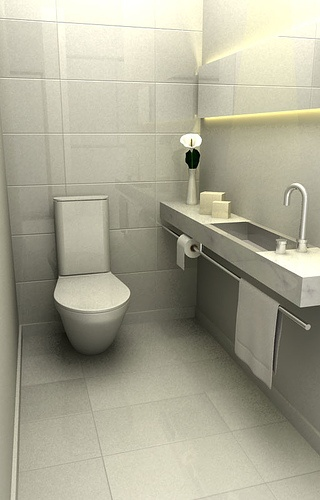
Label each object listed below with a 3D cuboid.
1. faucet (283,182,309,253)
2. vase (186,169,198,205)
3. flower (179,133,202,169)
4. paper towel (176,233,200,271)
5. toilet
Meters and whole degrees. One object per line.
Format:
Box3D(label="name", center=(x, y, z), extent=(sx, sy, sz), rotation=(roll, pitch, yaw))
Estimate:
Box3D(label="faucet", center=(0.487, -0.119, 1.344), extent=(0.084, 0.241, 0.170), rotation=(4, 11, 22))
Box3D(label="vase", center=(0.199, -0.418, 2.489), extent=(0.068, 0.233, 0.127), rotation=(-4, 11, -20))
Box3D(label="flower", center=(0.204, -0.652, 2.469), extent=(0.137, 0.243, 0.213), rotation=(1, 10, 5))
Box3D(label="paper towel", center=(0.165, 0.005, 2.295), extent=(0.112, 0.214, 0.209), rotation=(-4, 15, -12))
Box3D(label="toilet", center=(-0.405, 0.168, 2.172), extent=(0.401, 0.933, 0.701), rotation=(-3, 10, -16))
